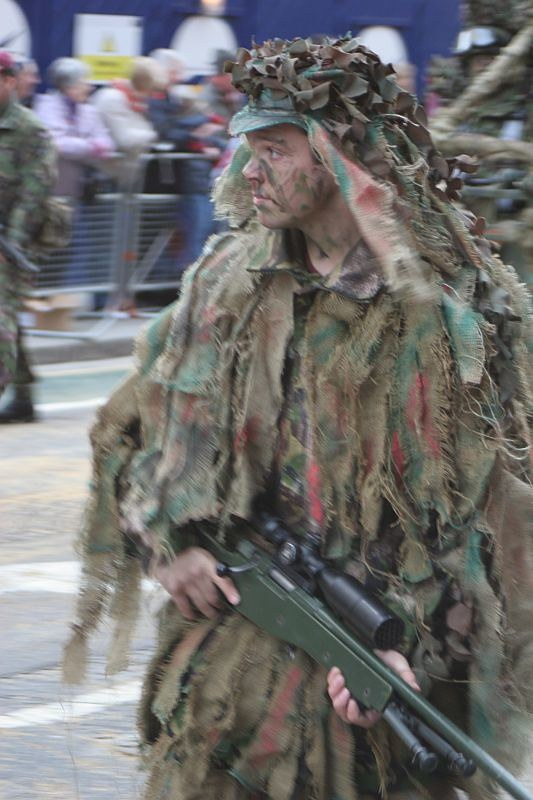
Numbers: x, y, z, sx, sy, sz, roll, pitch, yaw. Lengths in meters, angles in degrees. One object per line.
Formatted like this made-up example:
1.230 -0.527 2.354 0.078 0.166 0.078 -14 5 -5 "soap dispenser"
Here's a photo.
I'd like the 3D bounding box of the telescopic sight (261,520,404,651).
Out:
0.046 0.289 1.456 0.087 0.118 0.357 37 -7 -37 "telescopic sight"
